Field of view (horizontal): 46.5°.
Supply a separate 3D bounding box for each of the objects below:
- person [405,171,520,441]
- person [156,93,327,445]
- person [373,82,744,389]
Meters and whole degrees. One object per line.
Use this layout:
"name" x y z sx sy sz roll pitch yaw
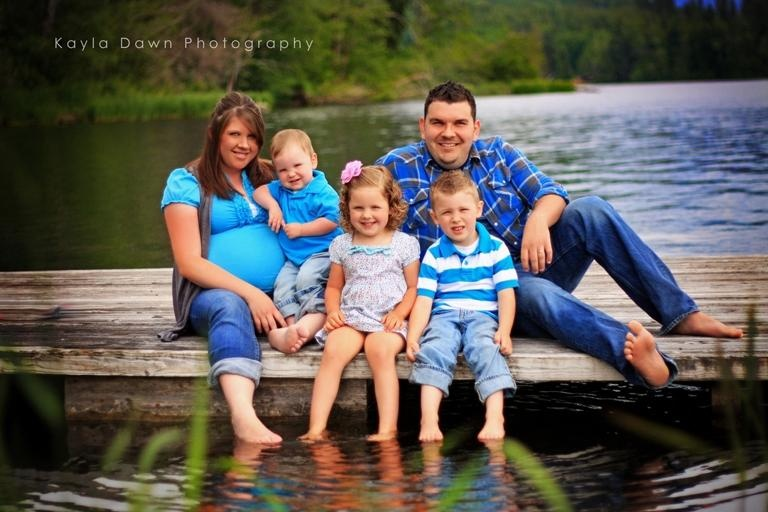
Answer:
"person" 0.412 0.233 4.763 0.587 1.263 0.912 -2 18 8
"person" -0.896 -0.011 4.846 0.703 1.652 1.098 -7 18 -6
"person" 0.842 -0.123 4.871 1.990 1.162 1.022 22 41 33
